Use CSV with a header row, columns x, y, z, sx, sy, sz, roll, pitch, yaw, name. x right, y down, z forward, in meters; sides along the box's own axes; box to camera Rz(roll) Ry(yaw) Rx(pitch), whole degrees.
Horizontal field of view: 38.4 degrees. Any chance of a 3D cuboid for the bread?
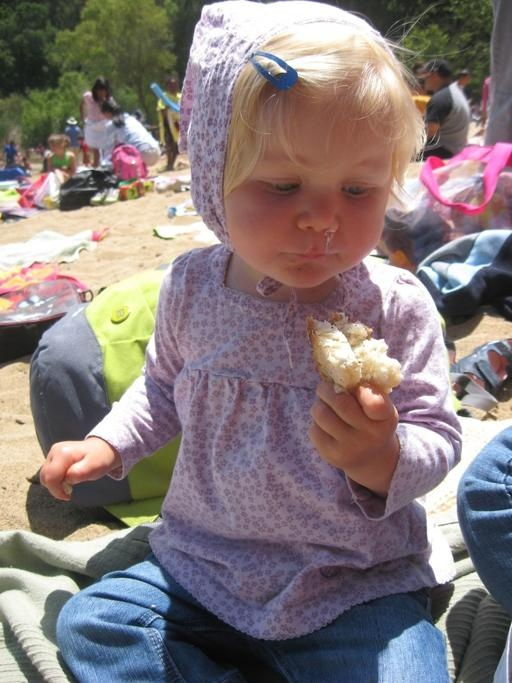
x,y,z,sx,sy,sz,roll,pitch,yaw,name
0.168,0.015,1.372,0.130,0.077,0.156,27,24,-39,bread
